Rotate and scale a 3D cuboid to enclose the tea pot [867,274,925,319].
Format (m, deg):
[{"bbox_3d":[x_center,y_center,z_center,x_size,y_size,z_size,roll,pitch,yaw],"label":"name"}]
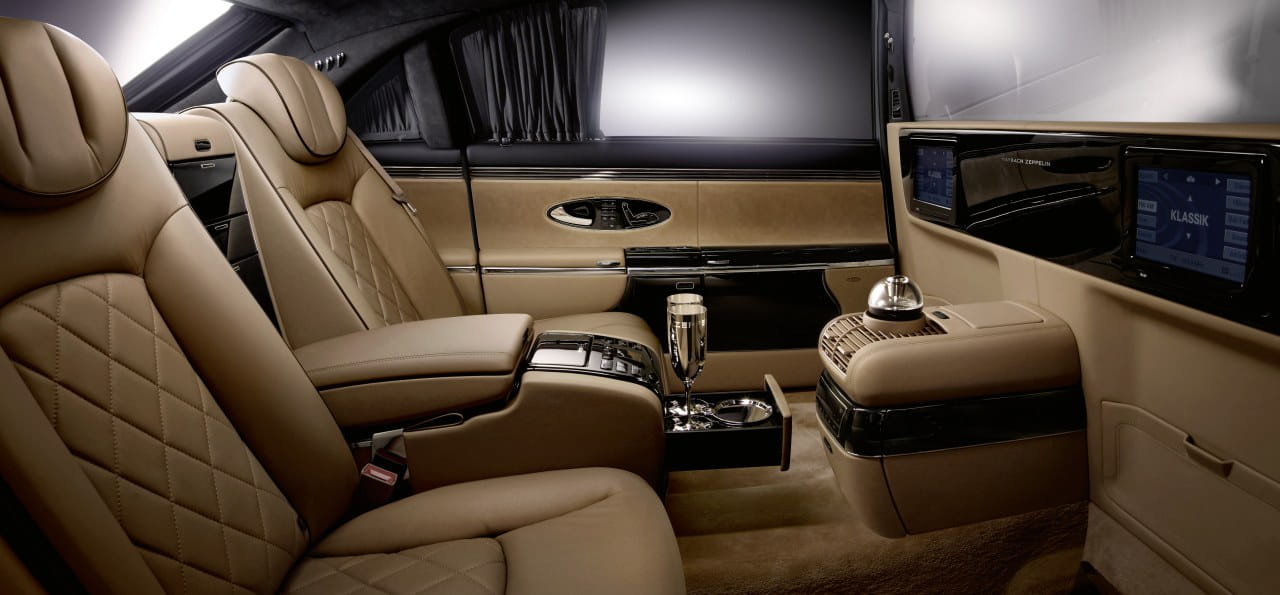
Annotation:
[{"bbox_3d":[0.742,-0.013,2.062,0.151,0.089,0.137,-5,10,-14],"label":"tea pot"}]
